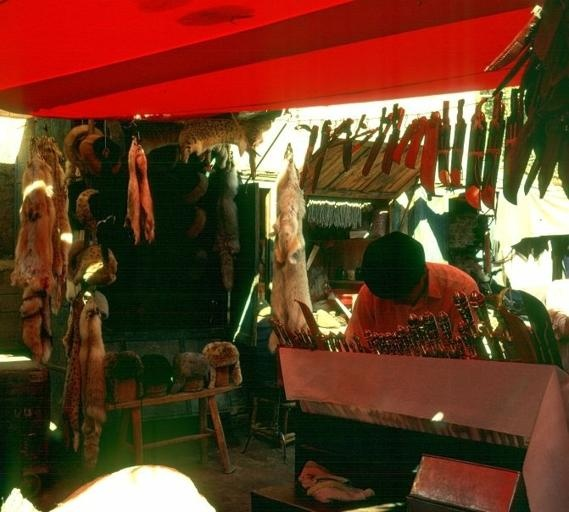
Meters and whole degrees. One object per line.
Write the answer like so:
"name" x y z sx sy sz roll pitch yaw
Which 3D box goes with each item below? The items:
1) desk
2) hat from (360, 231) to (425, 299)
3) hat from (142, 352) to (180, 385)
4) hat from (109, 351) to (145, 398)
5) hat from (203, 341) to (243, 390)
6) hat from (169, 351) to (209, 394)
"desk" -0.977 1.548 5.717 1.209 0.877 0.537 -2 2 -34
"hat" 0.639 0.074 3.830 0.383 0.414 0.209 2 8 4
"hat" -1.069 0.967 5.549 0.217 0.189 0.267 -1 4 0
"hat" -1.274 0.985 5.415 0.253 0.383 0.356 1 2 -9
"hat" -0.588 0.984 5.967 0.368 0.438 0.401 1 -1 19
"hat" -0.817 1.046 5.674 0.339 0.325 0.345 -2 -17 -24
